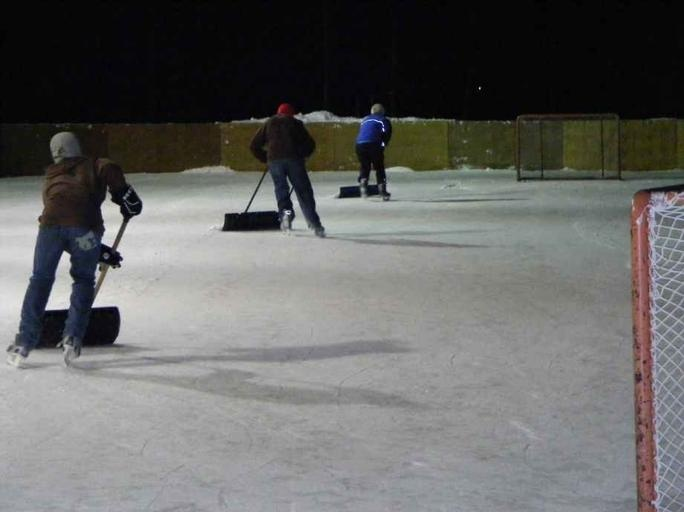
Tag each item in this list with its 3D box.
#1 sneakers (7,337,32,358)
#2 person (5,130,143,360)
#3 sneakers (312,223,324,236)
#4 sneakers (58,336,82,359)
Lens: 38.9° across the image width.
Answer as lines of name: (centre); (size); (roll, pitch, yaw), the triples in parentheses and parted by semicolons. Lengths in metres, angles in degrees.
sneakers: (-2.164, 0.588, 6.437); (0.205, 0.150, 0.095); (8, 13, 38)
person: (-1.855, -0.073, 6.564); (0.895, 1.522, 0.601); (-11, 14, -43)
sneakers: (-0.296, -0.347, 12.163); (0.151, 0.176, 0.260); (-1, 11, -2)
sneakers: (-1.803, 0.622, 6.433); (0.118, 0.165, 0.086); (4, 8, 1)
